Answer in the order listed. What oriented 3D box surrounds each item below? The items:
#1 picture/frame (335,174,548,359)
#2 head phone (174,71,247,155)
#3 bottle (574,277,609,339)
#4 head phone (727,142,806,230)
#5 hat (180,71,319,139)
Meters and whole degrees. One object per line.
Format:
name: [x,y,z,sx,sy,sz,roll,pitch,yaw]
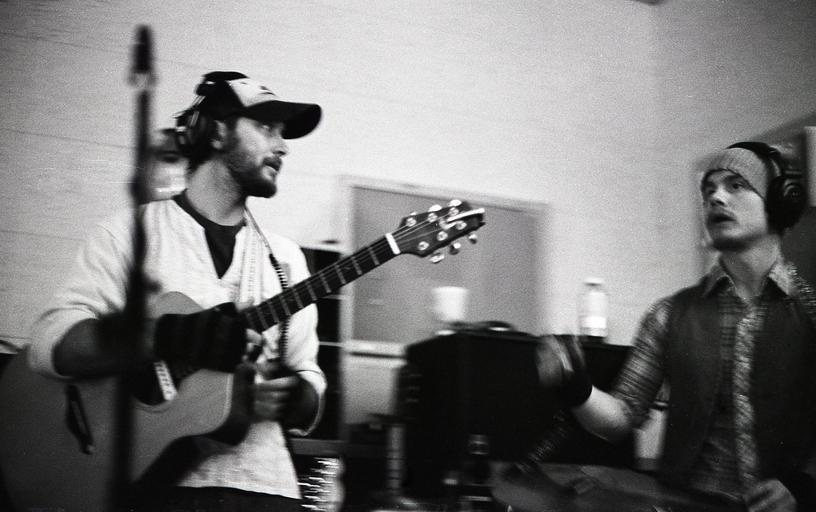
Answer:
picture/frame: [0.138,0.041,3.415,1.126,0.592,0.073,2,-2,-21]
head phone: [-0.769,-0.577,3.407,0.134,0.287,0.321,12,34,18]
bottle: [0.745,0.211,3.689,0.149,0.234,0.060,5,2,-21]
head phone: [1.507,-0.281,3.886,0.155,0.313,0.389,-14,1,-13]
hat: [-0.595,-0.565,3.441,0.481,0.129,0.246,-3,15,-6]
